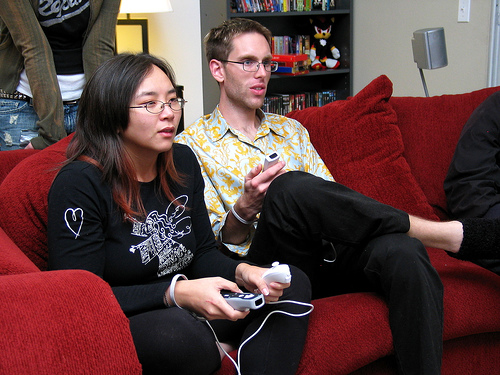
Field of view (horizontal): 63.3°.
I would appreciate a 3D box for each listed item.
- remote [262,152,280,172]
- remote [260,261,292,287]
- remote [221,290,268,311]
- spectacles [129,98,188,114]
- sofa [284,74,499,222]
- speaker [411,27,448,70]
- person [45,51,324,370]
[{"bbox_3d":[0.081,-0.099,1.548,0.055,0.088,0.032,-28,67,-37],"label":"remote"},{"bbox_3d":[0.083,0.243,1.190,0.076,0.057,0.040,-31,38,27],"label":"remote"},{"bbox_3d":[-0.007,0.311,1.150,0.116,0.053,0.063,8,12,42],"label":"remote"},{"bbox_3d":[-0.273,-0.265,1.299,0.082,0.041,0.216,8,19,35],"label":"spectacles"},{"bbox_3d":[0.665,-0.198,1.929,0.880,0.662,0.453,-1,14,6],"label":"sofa"},{"bbox_3d":[0.946,-0.755,2.133,0.145,0.197,0.183,-18,27,6],"label":"speaker"},{"bbox_3d":[-0.218,0.070,1.213,0.725,0.934,0.559,7,17,33],"label":"person"}]
